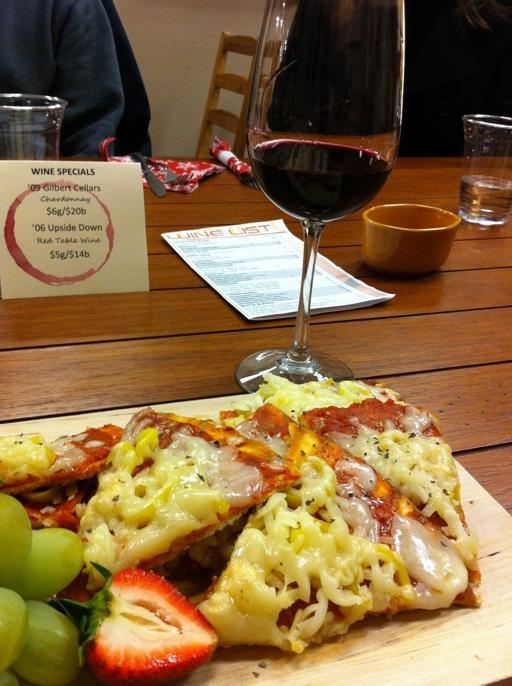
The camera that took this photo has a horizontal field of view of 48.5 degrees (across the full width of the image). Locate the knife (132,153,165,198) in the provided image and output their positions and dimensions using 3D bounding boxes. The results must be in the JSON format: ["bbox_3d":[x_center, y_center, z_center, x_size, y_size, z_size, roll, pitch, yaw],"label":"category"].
[{"bbox_3d":[-0.249,-0.391,1.281,0.072,0.034,0.396,-4,30,-14],"label":"knife"}]

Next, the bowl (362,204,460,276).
[{"bbox_3d":[0.270,-0.183,1.019,0.172,0.096,0.162,-1,29,1],"label":"bowl"}]

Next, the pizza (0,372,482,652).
[{"bbox_3d":[0.020,0.110,0.386,0.211,0.038,0.199,0,30,-4],"label":"pizza"}]

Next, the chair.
[{"bbox_3d":[-0.060,-1.022,2.344,0.239,0.475,0.227,-26,65,-36],"label":"chair"}]
